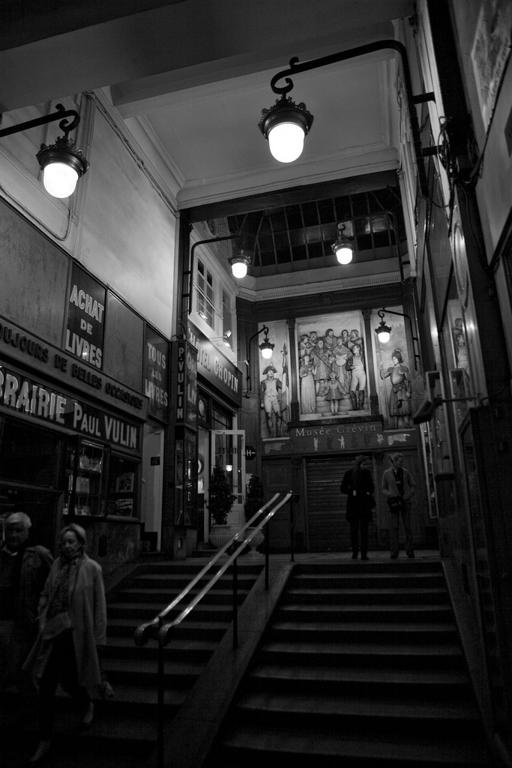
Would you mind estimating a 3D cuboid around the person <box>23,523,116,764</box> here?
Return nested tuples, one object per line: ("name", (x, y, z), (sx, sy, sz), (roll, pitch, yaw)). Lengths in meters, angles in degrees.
("person", (-1.247, 1.648, 3.559), (0.537, 1.355, 0.491), (4, -11, -33))

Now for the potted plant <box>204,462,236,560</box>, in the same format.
("potted plant", (-0.706, 2.489, 10.793), (0.746, 1.659, 0.455), (-11, -13, 44))

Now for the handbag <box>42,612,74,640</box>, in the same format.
("handbag", (-1.301, 1.587, 3.453), (0.186, 0.141, 0.102), (-1, -10, -14))

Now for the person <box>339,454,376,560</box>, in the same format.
("person", (1.415, 1.733, 7.278), (0.434, 1.419, 1.511), (-4, -11, 10))

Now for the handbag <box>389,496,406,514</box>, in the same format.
("handbag", (1.893, 1.606, 7.049), (0.113, 0.225, 0.097), (-14, -27, 27))
